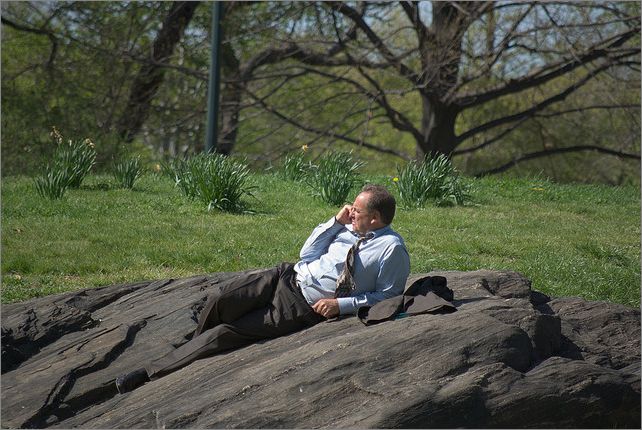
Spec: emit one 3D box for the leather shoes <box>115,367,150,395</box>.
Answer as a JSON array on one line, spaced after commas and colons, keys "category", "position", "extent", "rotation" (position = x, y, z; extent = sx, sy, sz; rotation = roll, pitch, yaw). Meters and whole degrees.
[{"category": "leather shoes", "position": [-3.218, 2.775, 19.387], "extent": [0.681, 0.263, 0.270], "rotation": [-25, 8, -6]}]
